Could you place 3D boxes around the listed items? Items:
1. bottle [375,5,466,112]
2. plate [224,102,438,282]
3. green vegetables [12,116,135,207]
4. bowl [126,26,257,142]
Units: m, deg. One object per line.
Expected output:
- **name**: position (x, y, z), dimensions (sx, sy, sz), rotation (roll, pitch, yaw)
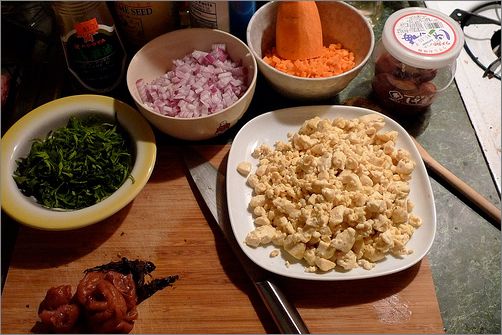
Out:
- **bottle**: position (0.566, -0.356, 1.665), dimensions (0.250, 0.395, 0.265), rotation (1, 35, -1)
- **plate**: position (0.152, 0.082, 1.434), dimensions (0.583, 0.087, 0.626), rotation (-7, 67, -4)
- **green vegetables**: position (-0.580, -0.010, 1.448), dimensions (0.195, 0.156, 0.289), rotation (12, 35, 20)
- **bowl**: position (-0.241, -0.272, 1.648), dimensions (0.484, 0.389, 0.334), rotation (-25, 41, -30)
